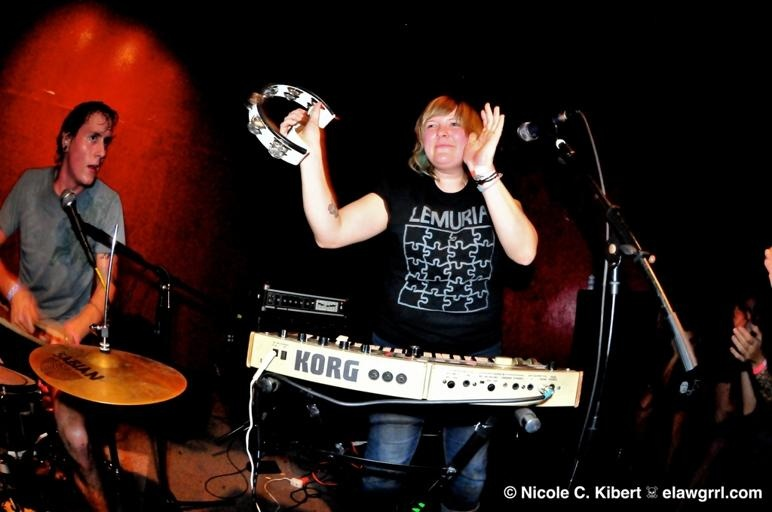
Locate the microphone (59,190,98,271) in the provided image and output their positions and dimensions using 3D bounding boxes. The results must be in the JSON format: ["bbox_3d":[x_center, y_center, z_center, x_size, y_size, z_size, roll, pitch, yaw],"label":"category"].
[{"bbox_3d":[-2.024,-0.160,3.941,0.142,0.542,0.129,-28,3,8],"label":"microphone"}]

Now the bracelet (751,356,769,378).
[{"bbox_3d":[2.362,0.706,3.788,0.095,0.119,0.044,0,-22,18],"label":"bracelet"}]

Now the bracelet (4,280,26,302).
[{"bbox_3d":[-2.473,0.234,3.994,0.026,0.106,0.109,39,-13,-9],"label":"bracelet"}]

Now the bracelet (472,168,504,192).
[{"bbox_3d":[0.530,-0.405,3.180,0.109,0.063,0.126,5,19,36],"label":"bracelet"}]

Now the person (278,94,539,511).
[{"bbox_3d":[0.200,0.314,3.473,1.224,2.419,0.880,4,15,6],"label":"person"}]
